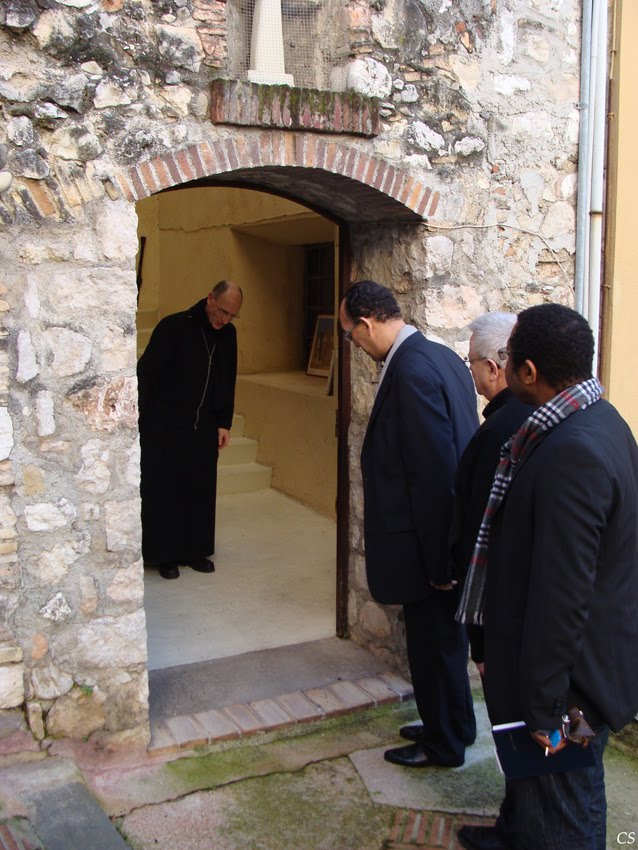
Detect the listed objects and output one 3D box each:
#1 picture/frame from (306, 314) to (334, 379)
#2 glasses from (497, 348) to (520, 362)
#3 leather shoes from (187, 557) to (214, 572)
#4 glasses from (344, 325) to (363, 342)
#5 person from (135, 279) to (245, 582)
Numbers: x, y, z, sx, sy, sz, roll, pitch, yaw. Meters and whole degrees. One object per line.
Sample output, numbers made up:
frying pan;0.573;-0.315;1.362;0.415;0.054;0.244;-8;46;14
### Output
picture/frame;0.031;-0.730;6.736;0.024;0.590;0.543;11;10;22
glasses;0.421;-0.156;1.616;0.066;0.020;0.063;16;14;37
leather shoes;-0.710;0.832;4.370;0.074;0.062;0.157;-7;9;-37
glasses;0.112;-0.289;2.314;0.015;0.048;0.047;-8;18;-29
person;-0.761;0.048;4.190;0.561;1.681;0.555;0;6;-10
